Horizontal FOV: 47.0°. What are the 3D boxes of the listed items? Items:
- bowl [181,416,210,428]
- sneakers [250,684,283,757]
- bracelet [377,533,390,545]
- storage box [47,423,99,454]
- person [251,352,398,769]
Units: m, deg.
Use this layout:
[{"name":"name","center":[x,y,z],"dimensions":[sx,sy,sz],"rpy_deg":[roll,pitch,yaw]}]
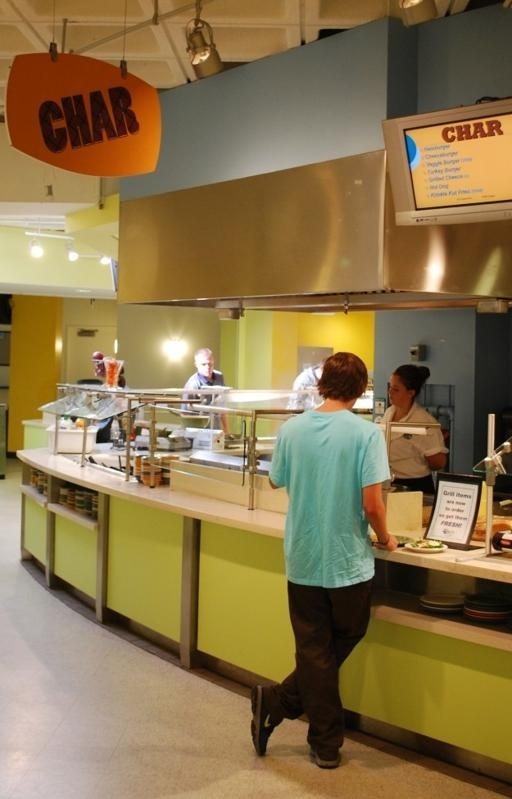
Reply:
[{"name":"bowl","center":[-0.351,0.138,3.396],"dimensions":[0.104,0.076,0.308],"rpy_deg":[3,-7,-31]},{"name":"sneakers","center":[0.046,1.092,1.997],"dimensions":[0.119,0.281,0.088],"rpy_deg":[-2,7,-2]},{"name":"bracelet","center":[0.428,0.467,1.954],"dimensions":[0.032,0.022,0.044],"rpy_deg":[-1,-4,4]},{"name":"storage box","center":[-1.582,0.358,5.069],"dimensions":[0.342,0.265,0.822],"rpy_deg":[3,-7,-27]},{"name":"person","center":[0.211,0.539,1.977],"dimensions":[0.501,1.388,0.274],"rpy_deg":[-2,-6,20]}]
